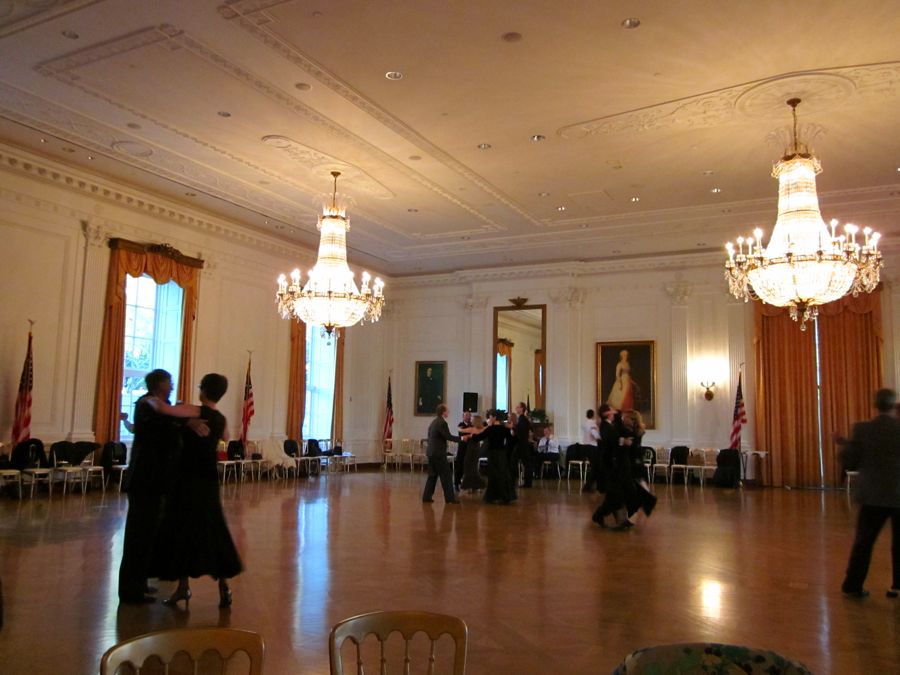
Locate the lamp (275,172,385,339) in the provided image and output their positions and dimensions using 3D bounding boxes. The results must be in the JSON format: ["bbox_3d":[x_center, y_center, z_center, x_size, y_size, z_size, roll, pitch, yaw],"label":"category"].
[{"bbox_3d":[-2.146,-1.702,12.484,1.975,3.086,1.976,2,5,4],"label":"lamp"}]

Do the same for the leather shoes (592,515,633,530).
[{"bbox_3d":[2.277,2.581,9.525,0.607,0.263,0.191,4,-9,16],"label":"leather shoes"}]

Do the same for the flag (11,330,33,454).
[{"bbox_3d":[-7.376,0.791,11.827,0.272,2.198,0.767,5,-7,-32],"label":"flag"}]

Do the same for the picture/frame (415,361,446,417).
[{"bbox_3d":[-0.609,1.478,19.460,1.033,1.580,0.039,4,5,-43],"label":"picture/frame"}]

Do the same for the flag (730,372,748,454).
[{"bbox_3d":[6.800,1.723,16.050,0.371,1.824,0.790,-2,-7,26],"label":"flag"}]

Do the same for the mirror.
[{"bbox_3d":[1.983,0.637,19.780,0.142,3.632,3.072,-2,-6,22],"label":"mirror"}]

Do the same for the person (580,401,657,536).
[{"bbox_3d":[2.439,1.857,9.715,0.935,1.597,0.520,4,-7,-29],"label":"person"}]

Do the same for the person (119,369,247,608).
[{"bbox_3d":[-2.224,1.240,5.678,0.981,1.928,0.412,1,-6,-6],"label":"person"}]
